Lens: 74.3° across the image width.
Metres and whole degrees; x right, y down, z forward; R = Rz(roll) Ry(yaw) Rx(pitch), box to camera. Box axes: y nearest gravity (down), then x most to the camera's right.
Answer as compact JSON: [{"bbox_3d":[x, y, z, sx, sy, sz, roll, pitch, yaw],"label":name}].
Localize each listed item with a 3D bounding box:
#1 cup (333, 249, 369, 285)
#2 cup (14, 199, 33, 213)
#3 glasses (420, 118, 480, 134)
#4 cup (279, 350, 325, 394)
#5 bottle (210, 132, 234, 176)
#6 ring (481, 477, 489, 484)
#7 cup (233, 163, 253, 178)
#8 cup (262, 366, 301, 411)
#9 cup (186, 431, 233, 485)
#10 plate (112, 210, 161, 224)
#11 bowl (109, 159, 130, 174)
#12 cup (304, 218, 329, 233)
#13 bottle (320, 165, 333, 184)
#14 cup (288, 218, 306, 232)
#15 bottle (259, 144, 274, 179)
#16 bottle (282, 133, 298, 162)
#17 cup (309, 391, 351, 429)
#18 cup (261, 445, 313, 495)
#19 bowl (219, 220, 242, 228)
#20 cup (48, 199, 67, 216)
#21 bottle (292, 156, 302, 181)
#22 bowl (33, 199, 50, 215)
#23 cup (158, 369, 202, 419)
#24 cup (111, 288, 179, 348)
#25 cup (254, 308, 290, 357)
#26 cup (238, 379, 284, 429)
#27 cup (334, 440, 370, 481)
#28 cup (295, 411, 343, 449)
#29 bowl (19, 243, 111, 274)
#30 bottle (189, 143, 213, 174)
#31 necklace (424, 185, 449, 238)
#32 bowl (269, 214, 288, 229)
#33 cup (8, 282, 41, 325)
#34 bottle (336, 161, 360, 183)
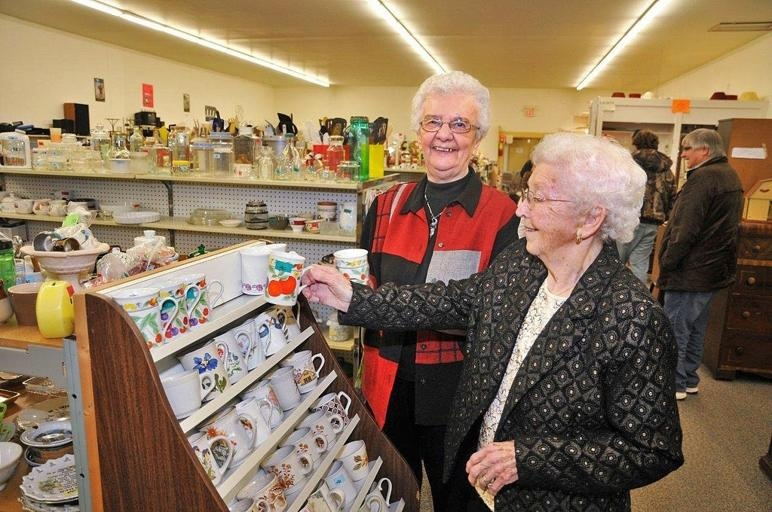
[{"bbox_3d":[-0.153,0.043,2.373,0.149,0.165,0.152,-1,10,0],"label":"cup"},{"bbox_3d":[-3.197,-0.447,4.479,0.119,0.118,0.149,1,1,-12],"label":"cup"},{"bbox_3d":[0.312,-0.636,2.473,0.264,0.074,0.088,2,11,7],"label":"glasses"},{"bbox_3d":[-0.369,0.536,2.381,0.142,0.164,0.212,-11,-2,32],"label":"cup"},{"bbox_3d":[-1.403,-0.882,4.368,0.164,0.349,0.127,-4,12,-23],"label":"bottle"},{"bbox_3d":[0.377,0.859,1.947,0.022,0.024,0.017,1,0,-10],"label":"ring"},{"bbox_3d":[-1.184,-0.715,4.225,0.118,0.088,0.120,1,9,0],"label":"cup"},{"bbox_3d":[-0.446,0.584,2.330,0.142,0.172,0.170,-22,8,22],"label":"cup"},{"bbox_3d":[-0.657,0.756,1.954,0.124,0.202,0.197,-8,-4,44],"label":"cup"},{"bbox_3d":[-2.123,-0.333,4.353,0.333,0.103,0.213,-2,11,-16],"label":"plate"},{"bbox_3d":[-2.271,-0.782,4.356,0.122,0.077,0.125,0,-1,0],"label":"bowl"},{"bbox_3d":[-0.562,-0.249,4.122,0.152,0.107,0.129,-1,7,12],"label":"cup"},{"bbox_3d":[-0.480,-0.663,4.096,0.129,0.150,0.131,1,6,1],"label":"bottle"},{"bbox_3d":[-0.729,-0.259,4.175,0.113,0.082,0.114,1,-2,0],"label":"cup"},{"bbox_3d":[-1.000,-0.788,4.264,0.125,0.264,0.277,-2,11,-13],"label":"bottle"},{"bbox_3d":[-0.798,-0.925,4.300,0.123,0.218,0.237,-1,11,-10],"label":"bottle"},{"bbox_3d":[-0.249,0.729,2.418,0.184,0.163,0.116,-17,-20,-10],"label":"cup"},{"bbox_3d":[-0.407,0.913,2.186,0.198,0.150,0.129,-25,-9,-12],"label":"cup"},{"bbox_3d":[-1.298,-0.281,4.273,0.151,0.048,0.209,-5,12,-29],"label":"bowl"},{"bbox_3d":[-2.801,-0.427,4.416,0.154,0.116,0.123,2,12,7],"label":"cup"},{"bbox_3d":[-0.728,-0.731,4.207,0.079,0.165,0.083,1,11,0],"label":"bottle"},{"bbox_3d":[-2.959,-0.424,4.408,0.154,0.153,0.104,1,9,-20],"label":"bowl"},{"bbox_3d":[-0.750,0.505,1.880,0.136,0.138,0.169,-6,-5,24],"label":"cup"},{"bbox_3d":[-0.872,0.219,1.862,0.216,0.211,0.093,-4,12,-24],"label":"cup"},{"bbox_3d":[-0.503,0.334,2.240,0.119,0.175,0.192,-12,5,19],"label":"cup"},{"bbox_3d":[-0.505,0.623,2.249,0.205,0.186,0.129,-34,7,41],"label":"cup"},{"bbox_3d":[-0.144,0.958,2.447,0.139,0.123,0.158,-27,-4,11],"label":"cup"},{"bbox_3d":[-0.299,0.789,2.355,0.188,0.132,0.118,1,12,14],"label":"cup"},{"bbox_3d":[-1.503,0.000,2.431,0.211,0.121,0.213,0,12,0],"label":"bowl"},{"bbox_3d":[-1.598,-0.860,4.431,0.239,0.280,0.244,1,11,2],"label":"bottle"},{"bbox_3d":[0.233,-0.222,2.493,0.089,0.035,0.275,9,45,3],"label":"necklace"},{"bbox_3d":[-0.878,-0.293,4.190,0.119,0.076,0.120,1,18,0],"label":"bowl"},{"bbox_3d":[-1.474,0.190,2.149,0.171,0.145,0.153,0,4,-45],"label":"cup"},{"bbox_3d":[-0.300,-0.670,4.038,0.158,0.142,0.161,2,7,16],"label":"bottle"}]
